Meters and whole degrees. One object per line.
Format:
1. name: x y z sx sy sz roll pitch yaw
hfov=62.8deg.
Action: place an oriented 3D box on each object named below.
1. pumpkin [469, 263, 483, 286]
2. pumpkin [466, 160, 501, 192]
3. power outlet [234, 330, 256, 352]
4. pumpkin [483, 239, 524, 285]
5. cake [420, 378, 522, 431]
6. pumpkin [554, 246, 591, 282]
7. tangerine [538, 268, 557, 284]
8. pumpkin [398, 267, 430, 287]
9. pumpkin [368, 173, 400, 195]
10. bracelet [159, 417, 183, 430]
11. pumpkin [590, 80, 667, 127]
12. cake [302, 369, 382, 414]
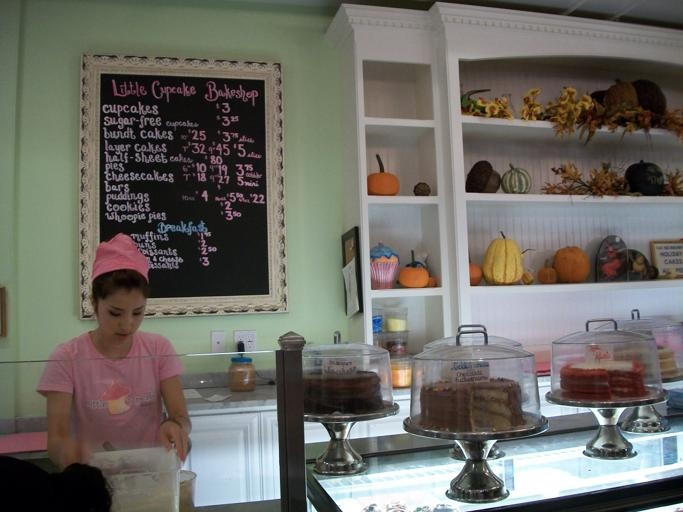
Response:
1. pumpkin: 0.786 0.100 3.256 0.069 0.127 0.231 -5 -1 16
2. pumpkin: 0.813 -0.453 3.215 0.098 0.190 0.187 1 -30 -8
3. power outlet: -0.526 0.463 3.091 0.127 0.100 0.093 -5 -1 -11
4. pumpkin: 0.943 0.023 3.305 0.222 0.275 0.215 0 10 -34
5. cake: 0.382 0.423 1.621 0.291 0.122 0.290 0 -11 -14
6. pumpkin: 1.393 0.061 3.460 0.217 0.252 0.212 -2 -6 -3
7. tangerine: 1.255 0.118 3.445 0.098 0.140 0.100 -1 -3 -9
8. pumpkin: 0.390 0.110 3.108 0.124 0.103 0.126 3 7 23
9. pumpkin: 0.228 -0.406 3.143 0.137 0.123 0.139 2 9 16
10. bracelet: -0.383 0.371 1.269 0.032 0.030 0.032 1 -1 18
11. pumpkin: 1.745 -0.926 3.404 0.383 0.177 0.299 4 13 8
12. cake: 0.002 0.385 1.587 0.147 0.068 0.147 -1 -4 3
